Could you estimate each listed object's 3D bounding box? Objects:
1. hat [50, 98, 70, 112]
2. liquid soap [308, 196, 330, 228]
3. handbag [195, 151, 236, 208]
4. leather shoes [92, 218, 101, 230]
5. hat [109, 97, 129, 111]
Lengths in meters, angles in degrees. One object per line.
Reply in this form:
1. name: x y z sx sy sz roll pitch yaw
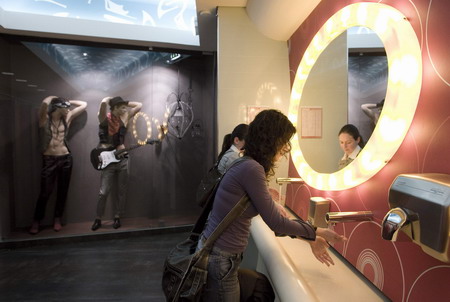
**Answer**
1. hat: -2.276 -0.668 3.922 0.186 0.166 0.145 -23 17 -13
2. liquid soap: 0.619 0.424 1.879 0.116 0.218 0.127 4 6 2
3. handbag: -0.013 0.268 2.567 0.357 0.553 0.305 13 3 -25
4. leather shoes: -1.815 1.044 3.991 0.126 0.156 0.061 1 2 -5
5. hat: -1.529 -0.711 4.045 0.197 0.080 0.173 -29 -3 11
